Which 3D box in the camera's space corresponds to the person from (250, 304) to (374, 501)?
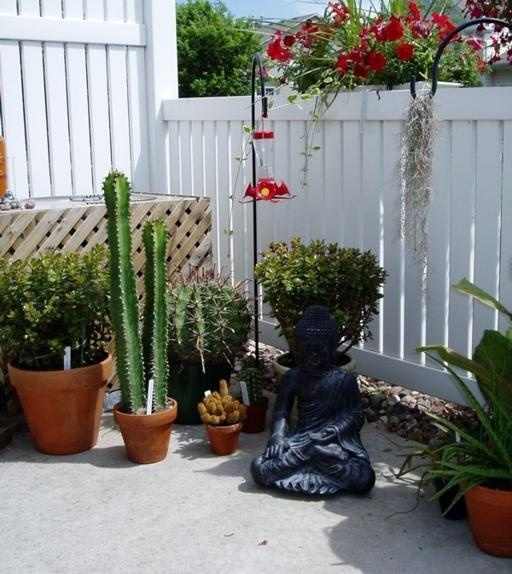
[{"bbox_3d":[0.239,0.421,2.210,0.453,0.673,0.410,1,8,13],"label":"person"}]
